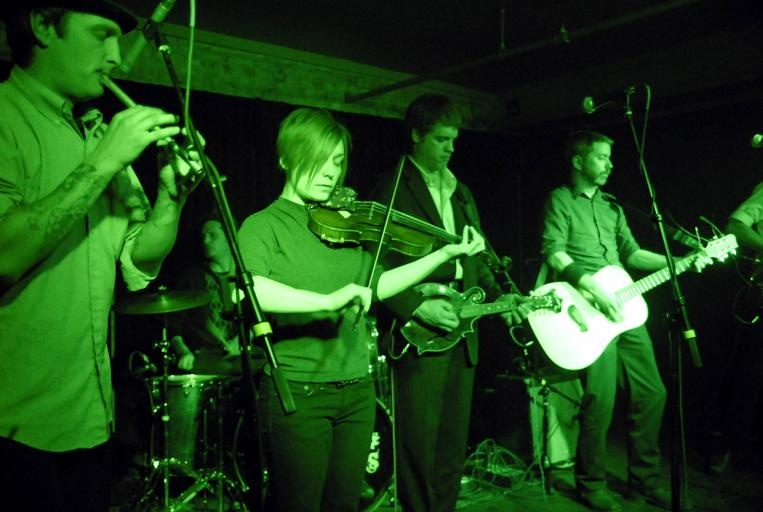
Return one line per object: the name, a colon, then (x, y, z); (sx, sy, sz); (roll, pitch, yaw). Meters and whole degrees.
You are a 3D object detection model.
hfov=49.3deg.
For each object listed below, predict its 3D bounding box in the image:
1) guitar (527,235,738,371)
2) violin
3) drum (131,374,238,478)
guitar: (1.777, 0.357, 6.260); (1.337, 0.958, 0.562); (1, -11, 5)
violin: (0.032, -0.167, 5.096); (0.883, 0.166, 0.385); (17, 17, -41)
drum: (-1.428, 1.229, 6.366); (0.680, 0.649, 0.668); (0, 0, 32)
